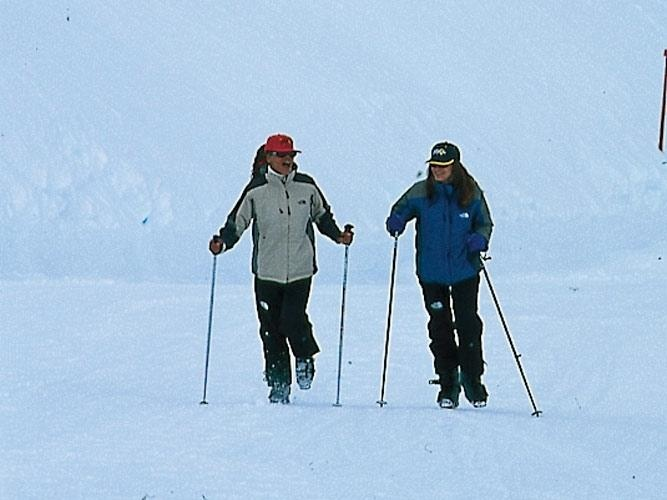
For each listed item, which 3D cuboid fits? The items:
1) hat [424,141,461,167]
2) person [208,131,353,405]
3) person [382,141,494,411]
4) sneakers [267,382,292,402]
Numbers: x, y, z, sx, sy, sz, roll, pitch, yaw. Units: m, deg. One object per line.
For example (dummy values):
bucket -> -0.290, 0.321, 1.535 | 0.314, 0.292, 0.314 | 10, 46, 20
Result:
hat -> 0.919, -0.828, 9.493 | 0.243, 0.195, 0.419 | -1, -15, 3
person -> -0.444, 0.180, 9.845 | 0.956, 2.208, 0.589 | 9, -15, -33
person -> 0.947, 0.237, 9.707 | 0.794, 2.145, 0.674 | -2, -13, 8
sneakers -> -0.459, 1.239, 9.840 | 0.180, 0.185, 0.143 | 1, -13, -6
